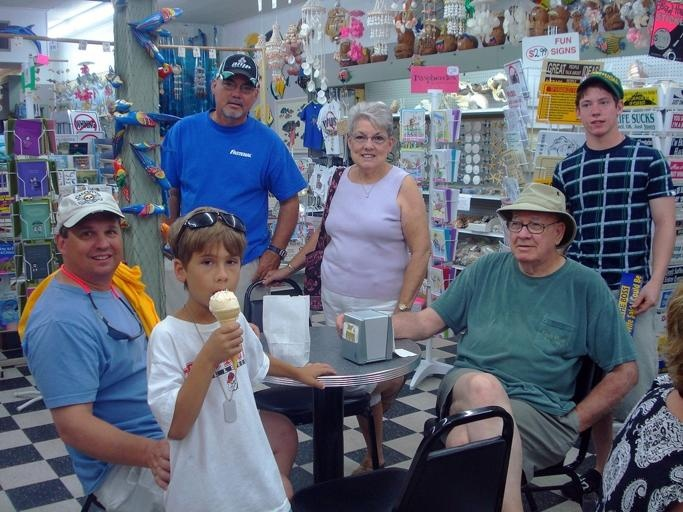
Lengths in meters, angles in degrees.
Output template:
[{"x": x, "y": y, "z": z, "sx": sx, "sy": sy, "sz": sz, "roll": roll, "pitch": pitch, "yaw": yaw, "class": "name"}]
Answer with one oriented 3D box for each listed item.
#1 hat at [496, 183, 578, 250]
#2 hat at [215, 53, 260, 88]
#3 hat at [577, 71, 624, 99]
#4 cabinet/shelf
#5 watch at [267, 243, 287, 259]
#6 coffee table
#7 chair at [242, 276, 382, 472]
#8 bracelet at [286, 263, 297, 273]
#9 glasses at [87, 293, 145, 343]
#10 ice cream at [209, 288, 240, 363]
[{"x": 0.936, "y": -0.207, "z": 2.532, "sx": 0.284, "sy": 0.184, "sz": 0.352, "roll": -8, "pitch": -37, "yaw": 44, "class": "hat"}, {"x": -0.534, "y": -0.996, "z": 2.868, "sx": 0.152, "sy": 0.117, "sz": 0.206, "roll": 10, "pitch": 17, "yaw": -24, "class": "hat"}, {"x": 1.504, "y": -1.005, "z": 3.123, "sx": 0.165, "sy": 0.120, "sz": 0.230, "roll": 7, "pitch": -19, "yaw": 45, "class": "hat"}, {"x": 1.236, "y": -0.226, "z": 4.753, "sx": 0.248, "sy": 0.722, "sz": 0.755, "roll": -1, "pitch": 4, "yaw": -18, "class": "cabinet/shelf"}, {"x": -0.393, "y": -0.050, "z": 3.313, "sx": 0.109, "sy": 0.071, "sz": 0.103, "roll": 15, "pitch": -30, "yaw": -14, "class": "watch"}, {"x": -0.033, "y": 0.674, "z": 2.489, "sx": 0.770, "sy": 0.828, "sz": 0.758, "roll": -2, "pitch": 4, "yaw": -13, "class": "coffee table"}, {"x": -0.170, "y": 0.667, "z": 2.911, "sx": 0.609, "sy": 1.011, "sz": 0.561, "roll": 20, "pitch": -35, "yaw": -37, "class": "chair"}, {"x": -0.289, "y": 0.068, "z": 3.167, "sx": 0.034, "sy": 0.044, "sz": 0.016, "roll": 9, "pitch": -27, "yaw": -35, "class": "bracelet"}, {"x": -0.772, "y": 0.210, "z": 1.831, "sx": 0.040, "sy": 0.172, "sz": 0.135, "roll": -45, "pitch": -14, "yaw": 25, "class": "glasses"}, {"x": -0.340, "y": 0.149, "z": 1.570, "sx": 0.083, "sy": 0.096, "sz": 0.169, "roll": -5, "pitch": 9, "yaw": -14, "class": "ice cream"}]
